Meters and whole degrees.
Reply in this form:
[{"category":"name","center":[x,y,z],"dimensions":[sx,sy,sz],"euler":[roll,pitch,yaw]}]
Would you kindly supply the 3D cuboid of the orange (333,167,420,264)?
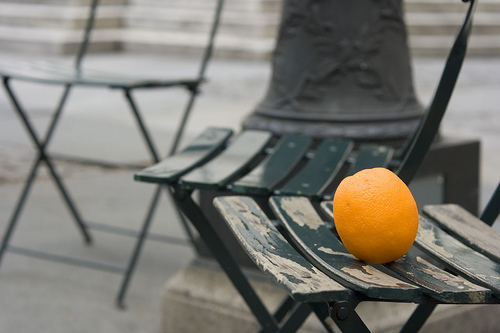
[{"category":"orange","center":[0.230,0.092,0.986],"dimensions":[0.144,0.158,0.179],"euler":[2,10,5]}]
